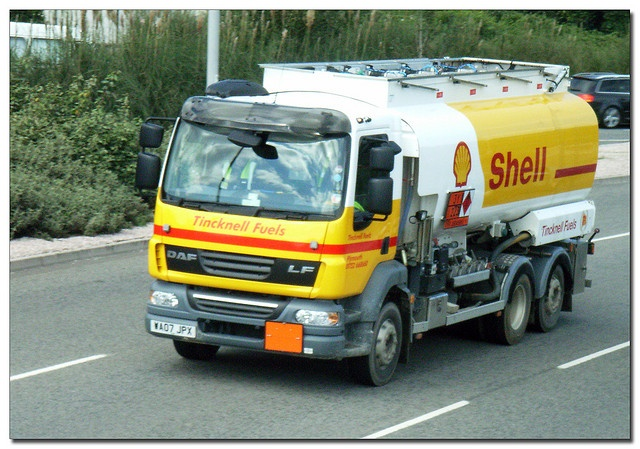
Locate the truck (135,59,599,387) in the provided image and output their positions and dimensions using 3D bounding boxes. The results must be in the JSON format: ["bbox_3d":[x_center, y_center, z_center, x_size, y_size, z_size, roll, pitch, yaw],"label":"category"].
[{"bbox_3d":[0.999,-0.182,12.039,3.656,3.108,7.241,4,9,39],"label":"truck"}]
